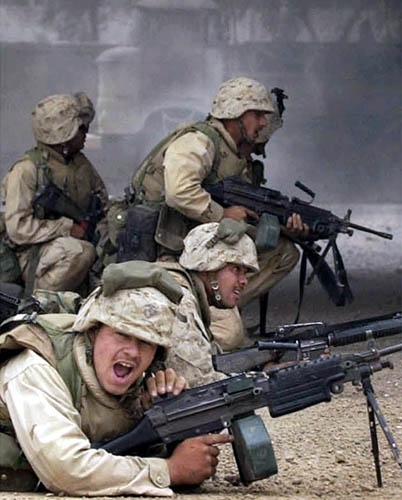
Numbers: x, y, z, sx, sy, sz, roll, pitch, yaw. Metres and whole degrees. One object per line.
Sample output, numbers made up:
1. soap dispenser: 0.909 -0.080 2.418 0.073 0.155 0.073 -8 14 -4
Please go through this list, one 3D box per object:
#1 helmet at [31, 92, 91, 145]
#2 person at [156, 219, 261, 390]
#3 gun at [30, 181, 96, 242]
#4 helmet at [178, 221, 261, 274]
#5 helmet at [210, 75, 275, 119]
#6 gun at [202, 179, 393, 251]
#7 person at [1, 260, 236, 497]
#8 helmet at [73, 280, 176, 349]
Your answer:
1. helmet: -0.970 -0.928 5.750 0.323 0.361 0.116 -23 -16 1
2. person: 0.115 0.438 5.746 0.779 1.494 0.923 5 -8 -6
3. gun: -0.957 -0.304 5.953 0.488 0.312 0.191 38 15 -6
4. helmet: 0.121 0.004 5.296 0.403 0.294 0.311 4 -2 -1
5. helmet: 0.282 -1.043 5.713 0.342 0.216 0.285 -4 0 14
6. gun: 0.656 -0.267 5.721 1.244 0.564 0.202 17 -10 1
7. person: -0.524 0.676 4.224 1.204 0.810 0.927 -5 -6 31
8. helmet: -0.396 0.383 4.250 0.393 0.242 0.323 13 -21 29
